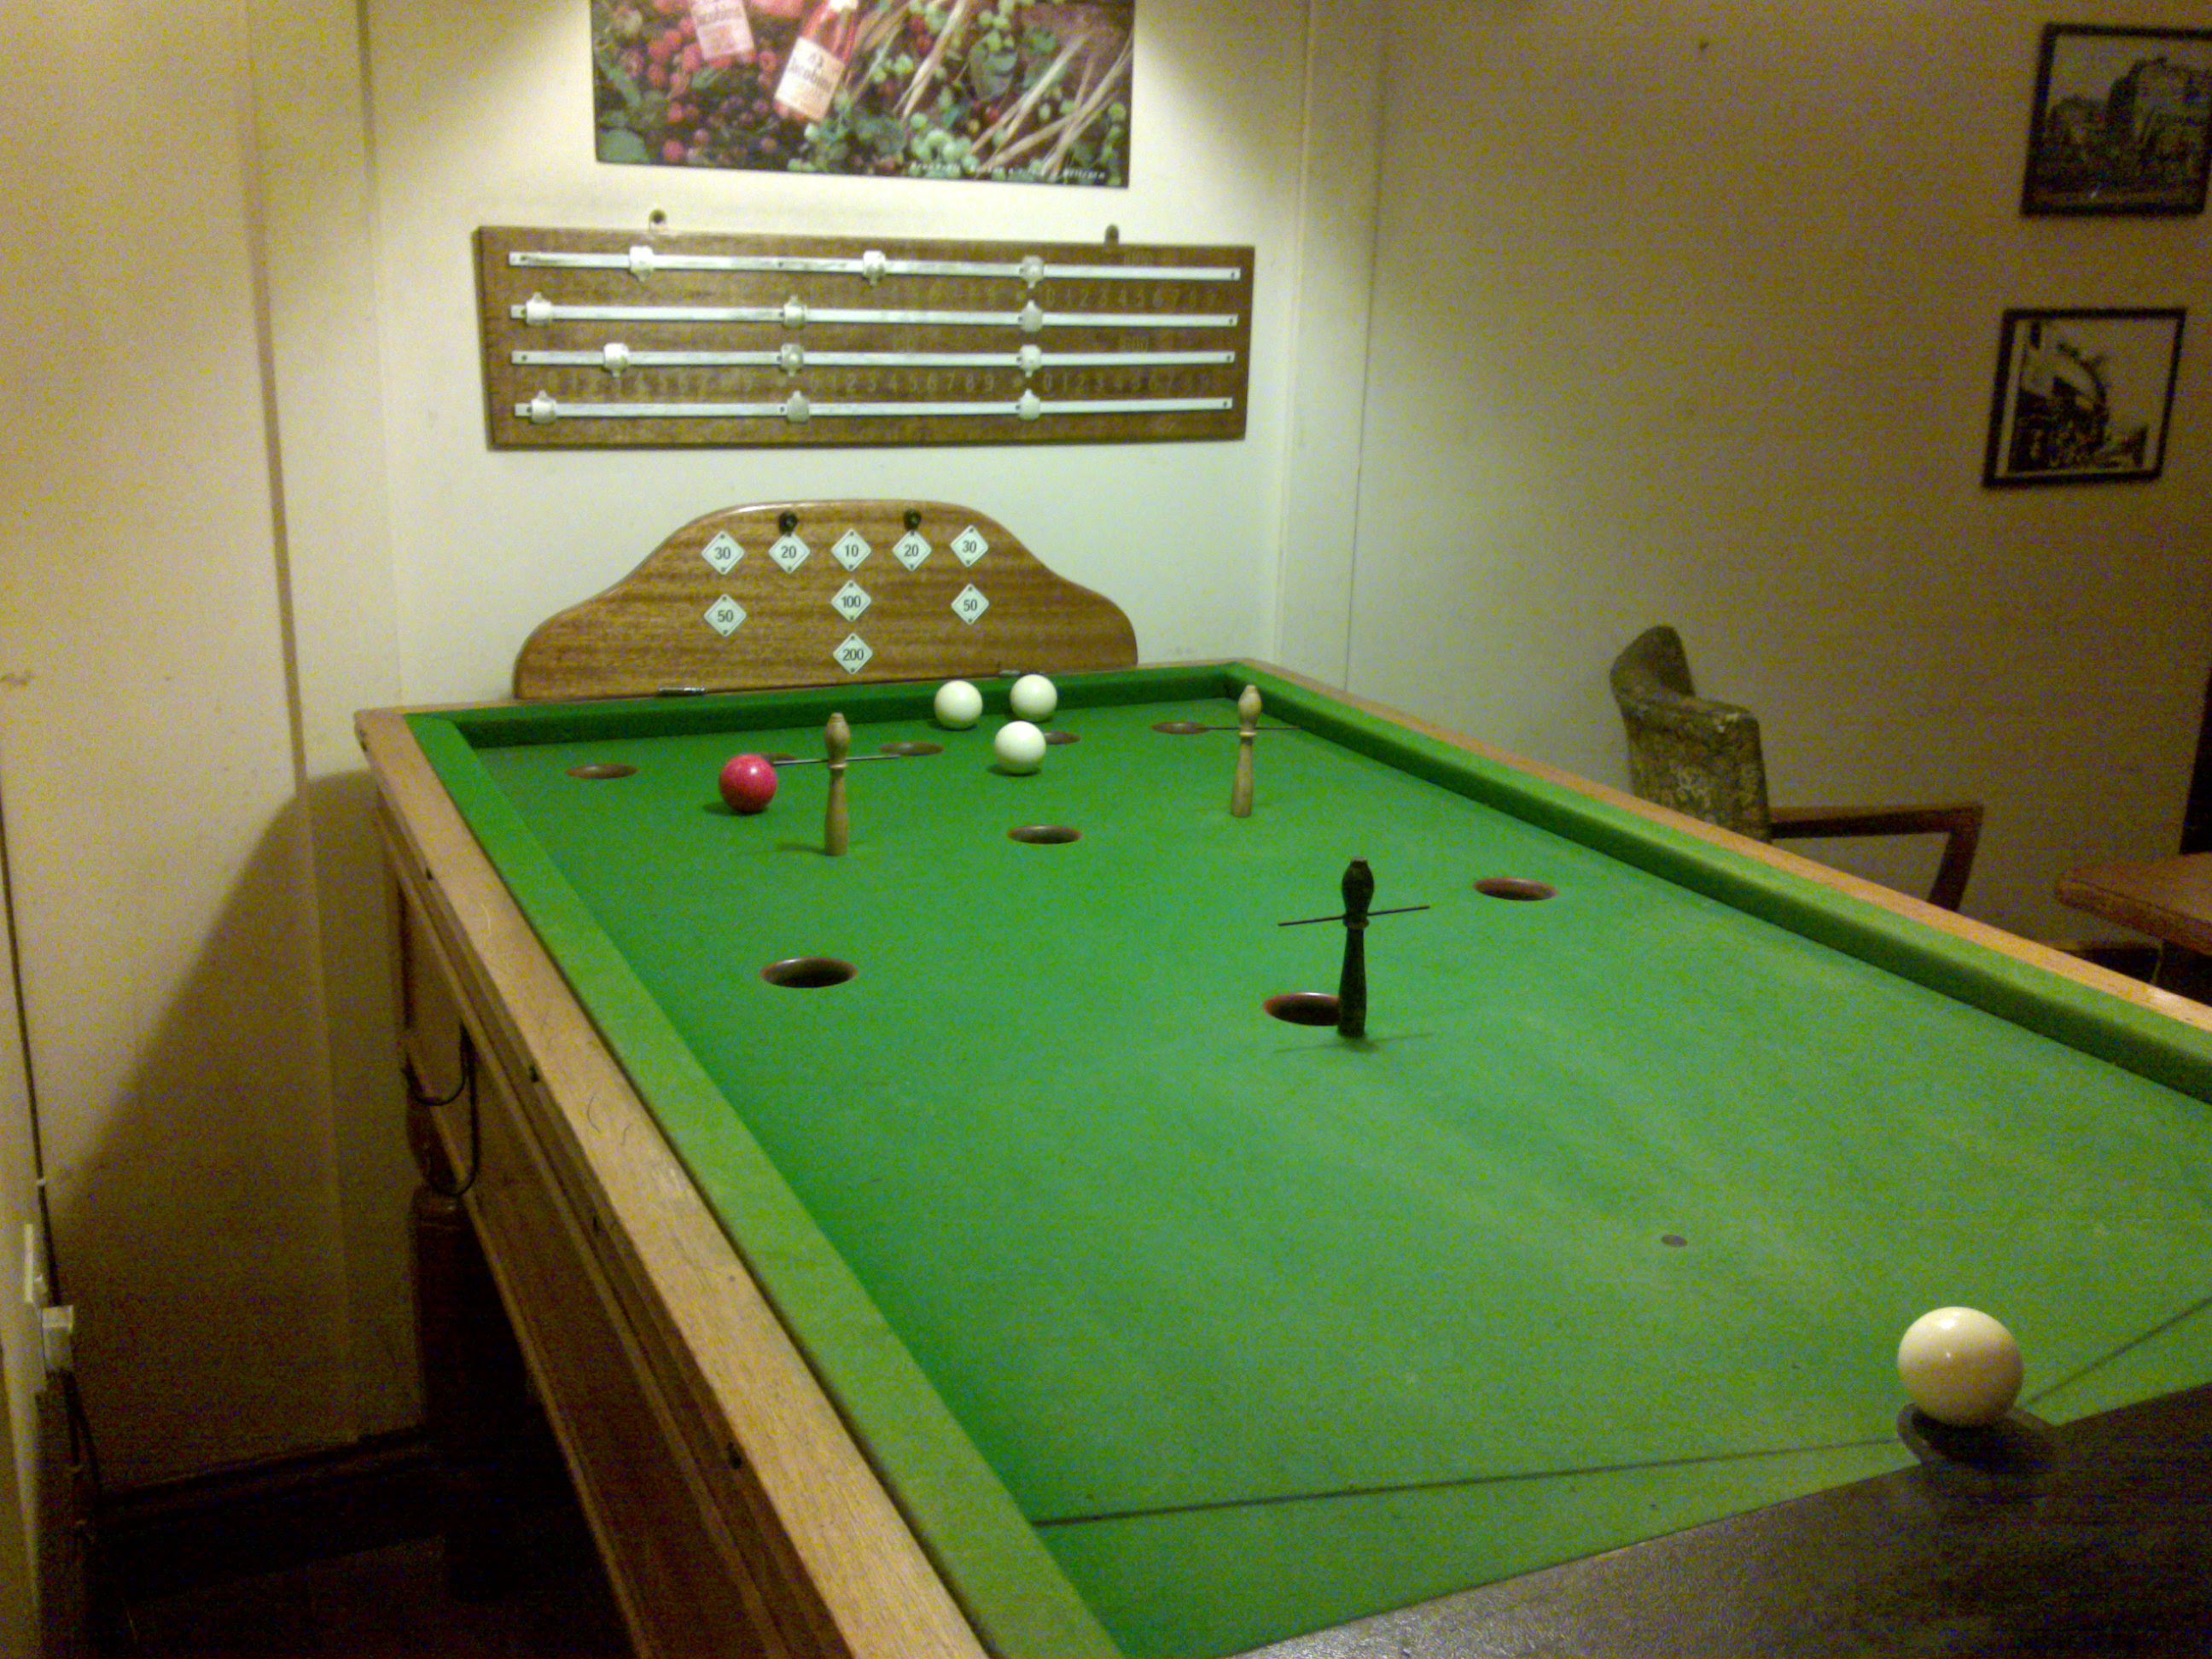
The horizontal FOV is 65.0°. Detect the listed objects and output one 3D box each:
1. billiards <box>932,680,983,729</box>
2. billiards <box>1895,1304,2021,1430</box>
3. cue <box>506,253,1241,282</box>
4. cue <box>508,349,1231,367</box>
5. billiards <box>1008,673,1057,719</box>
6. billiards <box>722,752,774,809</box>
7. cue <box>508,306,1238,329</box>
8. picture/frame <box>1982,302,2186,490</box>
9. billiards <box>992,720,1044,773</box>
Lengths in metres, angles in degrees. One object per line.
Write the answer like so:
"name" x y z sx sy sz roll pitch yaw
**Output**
"billiards" -0.330 -0.266 3.824 0.095 0.100 0.101 16 36 15
"billiards" 0.803 0.497 1.617 0.095 0.100 0.101 7 -16 -40
"cue" -0.517 -1.366 4.226 1.806 0.069 0.043 -6 15 -22
"cue" -0.520 -1.155 4.270 1.802 0.056 0.021 -6 15 -23
"billiards" -0.165 -0.285 3.817 0.093 0.097 0.111 7 -27 9
"billiards" -0.658 -0.080 3.219 0.091 0.111 0.093 10 9 6
"cue" -0.506 -1.254 4.259 1.841 0.057 0.025 -6 15 -22
"picture/frame" 3.141 -1.369 5.542 0.749 0.553 0.118 -6 15 -24
"billiards" -0.183 -0.156 3.511 0.093 0.098 0.099 2 21 4
